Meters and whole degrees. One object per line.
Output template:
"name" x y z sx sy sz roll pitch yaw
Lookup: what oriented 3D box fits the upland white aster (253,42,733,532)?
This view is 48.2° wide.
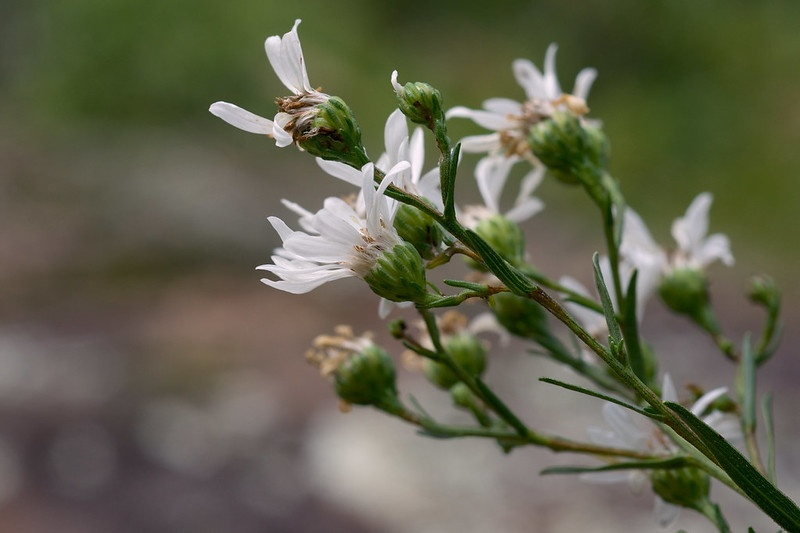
"upland white aster" 0.110 0.091 1.537 0.594 0.915 0.331 -52 1 -27
